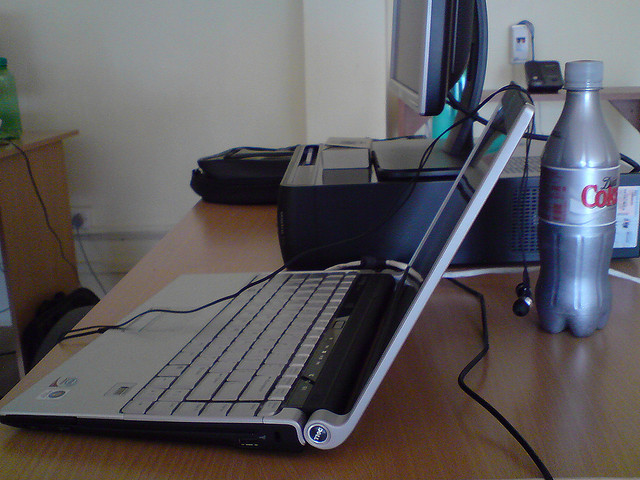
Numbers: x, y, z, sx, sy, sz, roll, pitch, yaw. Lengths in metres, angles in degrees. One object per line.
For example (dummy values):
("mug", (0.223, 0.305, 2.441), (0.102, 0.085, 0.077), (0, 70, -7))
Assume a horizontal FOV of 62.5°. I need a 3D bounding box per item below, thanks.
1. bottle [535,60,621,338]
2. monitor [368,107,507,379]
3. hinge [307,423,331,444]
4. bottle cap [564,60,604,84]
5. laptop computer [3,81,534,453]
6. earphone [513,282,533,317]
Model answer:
("bottle", (0.334, -0.047, 0.676), (0.101, 0.335, 0.119), (6, 27, 18))
("monitor", (0.174, 0.015, 0.767), (0.011, 0.312, 0.462), (25, 69, 9))
("hinge", (-0.002, 0.196, 0.534), (0.023, 0.021, 0.005), (0, 25, 6))
("bottle cap", (0.326, -0.207, 0.652), (0.039, 0.023, 0.038), (2, 16, 18))
("laptop computer", (-0.043, 0.007, 0.645), (0.537, 0.326, 0.442), (5, 26, 17))
("earphone", (0.280, 0.082, 0.745), (0.018, 0.027, 0.050), (-40, 19, 33))
